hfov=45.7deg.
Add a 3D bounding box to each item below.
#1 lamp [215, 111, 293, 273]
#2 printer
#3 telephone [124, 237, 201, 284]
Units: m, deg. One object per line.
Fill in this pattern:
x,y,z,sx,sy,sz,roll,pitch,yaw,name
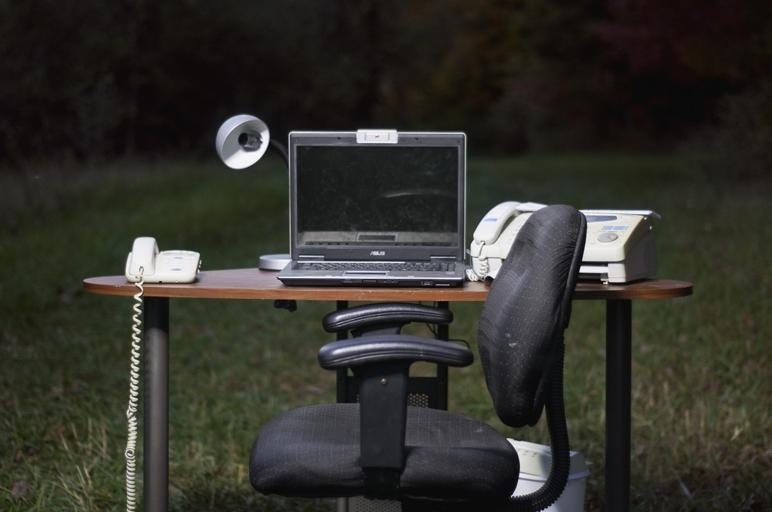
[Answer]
-0.739,-0.357,5.227,0.397,0.895,0.437,-2,8,-29,lamp
0.902,-0.055,4.913,0.816,0.468,0.822,1,2,-15,printer
-1.165,0.009,4.763,0.354,0.244,0.364,-1,4,-26,telephone
